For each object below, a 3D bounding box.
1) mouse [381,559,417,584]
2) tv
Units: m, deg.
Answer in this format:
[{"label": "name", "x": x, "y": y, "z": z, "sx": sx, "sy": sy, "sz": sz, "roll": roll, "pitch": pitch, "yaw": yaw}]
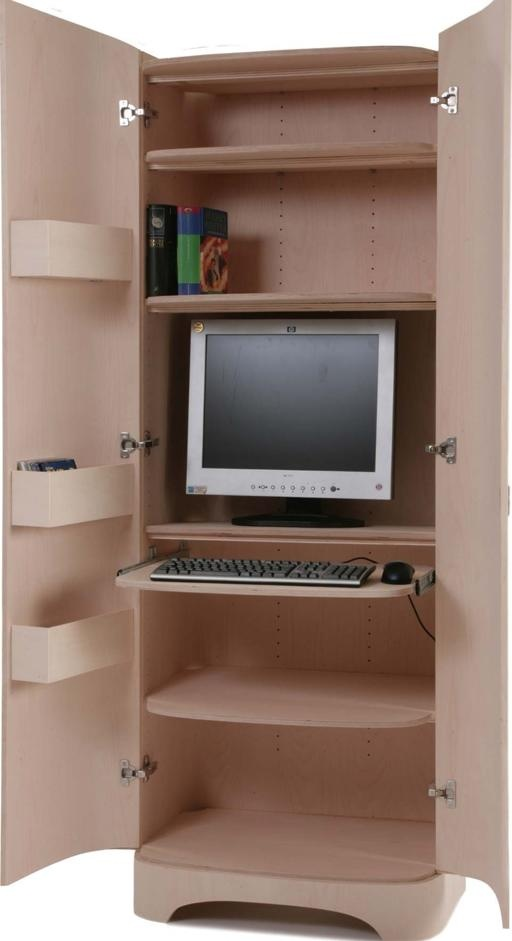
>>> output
[{"label": "mouse", "x": 0.261, "y": 0.178, "z": 1.451, "sx": 0.038, "sy": 0.042, "sz": 0.029, "roll": 5, "pitch": -84, "yaw": 27}, {"label": "tv", "x": 0.081, "y": -0.123, "z": 1.780, "sx": 0.375, "sy": 0.139, "sz": 0.469, "roll": 0, "pitch": -98, "yaw": 12}]
